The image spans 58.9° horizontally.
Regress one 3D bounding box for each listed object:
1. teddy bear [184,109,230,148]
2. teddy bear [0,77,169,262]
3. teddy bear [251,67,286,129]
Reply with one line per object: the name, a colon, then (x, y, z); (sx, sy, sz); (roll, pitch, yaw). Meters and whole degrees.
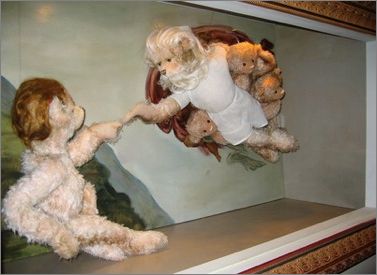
teddy bear: (0.129, -0.075, 2.448); (0.229, 0.192, 0.104); (26, 36, -23)
teddy bear: (-0.691, 0.186, 2.361); (0.996, 1.107, 0.884); (3, 2, -27)
teddy bear: (0.644, -0.290, 2.662); (0.290, 0.451, 0.279); (8, 35, 26)
